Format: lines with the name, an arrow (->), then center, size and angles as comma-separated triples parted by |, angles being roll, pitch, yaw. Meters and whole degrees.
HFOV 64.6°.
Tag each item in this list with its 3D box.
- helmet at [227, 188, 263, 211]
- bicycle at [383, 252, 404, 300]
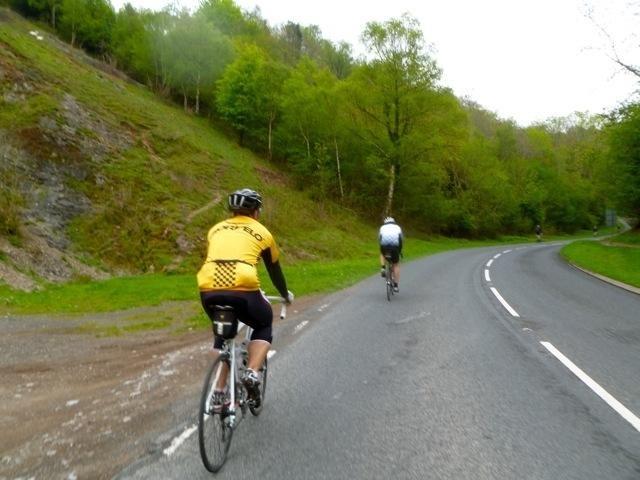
helmet -> -1.271, -0.679, 8.728 | 0.350, 0.287, 0.466 | 2, -3, 16
bicycle -> 2.204, 1.199, 15.741 | 0.436, 1.435, 1.107 | 0, 13, 9
